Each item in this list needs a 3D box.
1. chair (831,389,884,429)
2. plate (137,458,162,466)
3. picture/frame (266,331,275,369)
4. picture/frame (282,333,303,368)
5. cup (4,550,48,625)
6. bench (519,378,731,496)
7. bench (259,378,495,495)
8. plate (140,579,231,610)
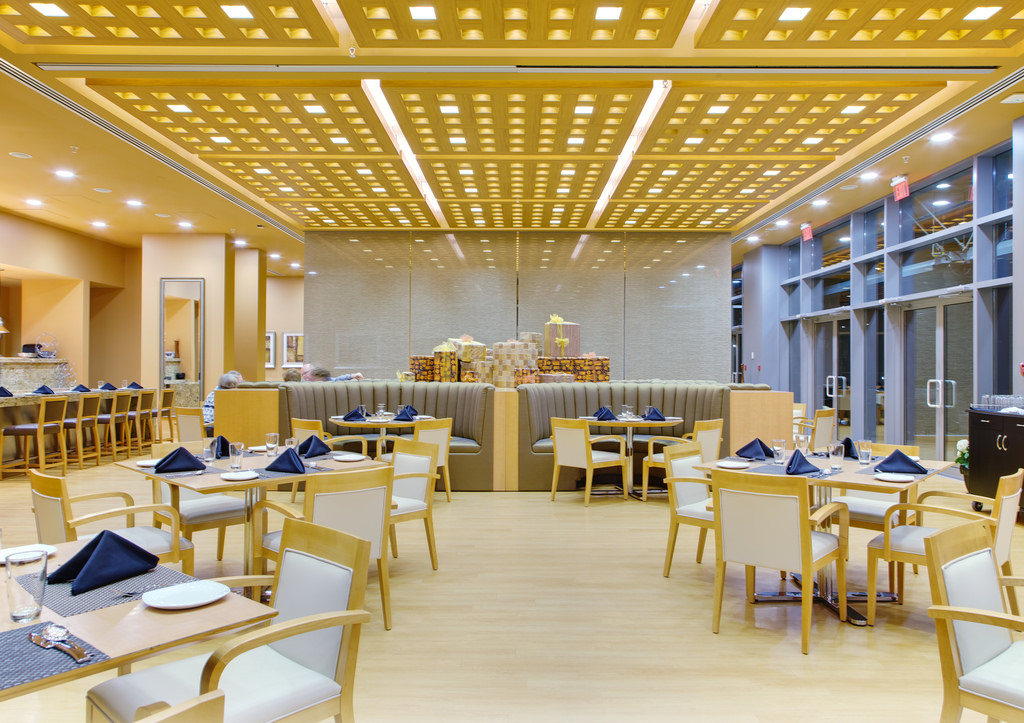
[{"bbox_3d":[6.263,0.823,11.861,1.079,0.833,0.703,0,-4,2],"label":"chair"},{"bbox_3d":[-2.563,0.708,4.811,0.137,0.025,0.238,-4,7,-32],"label":"plate"},{"bbox_3d":[-6.410,-0.283,18.221,0.290,0.951,0.333,-3,10,-13],"label":"picture/frame"},{"bbox_3d":[-5.858,-0.306,18.238,0.496,0.853,0.377,-4,10,-19],"label":"picture/frame"},{"bbox_3d":[-2.028,0.928,2.857,0.142,0.288,0.144,-1,9,0],"label":"cup"},{"bbox_3d":[1.565,0.916,8.644,2.894,1.116,1.329,2,8,7],"label":"bench"},{"bbox_3d":[-1.308,1.291,8.812,3.049,1.179,1.389,0,-7,1],"label":"bench"},{"bbox_3d":[-1.452,1.036,3.044,0.312,0.047,0.257,-6,8,-42],"label":"plate"}]
